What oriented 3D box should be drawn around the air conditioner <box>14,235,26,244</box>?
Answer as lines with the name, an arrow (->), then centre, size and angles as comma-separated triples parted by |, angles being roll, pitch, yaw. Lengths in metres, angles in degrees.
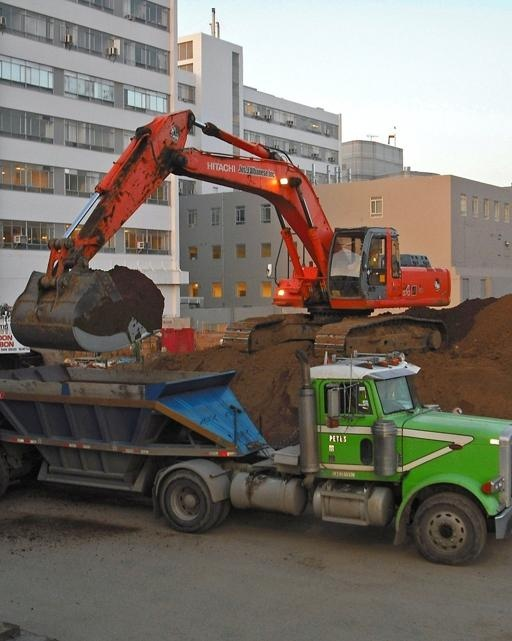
air conditioner -> -13.547, -4.643, 41.159 | 0.478, 0.361, 0.486 | 0, 1, 19

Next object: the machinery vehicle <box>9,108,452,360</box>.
machinery vehicle -> 0.278, -1.405, 15.438 | 2.843, 4.394, 11.227 | 5, 5, 42

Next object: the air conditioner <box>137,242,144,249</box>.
air conditioner -> -7.706, -4.976, 47.721 | 0.434, 0.443, 0.238 | -11, 6, -40
